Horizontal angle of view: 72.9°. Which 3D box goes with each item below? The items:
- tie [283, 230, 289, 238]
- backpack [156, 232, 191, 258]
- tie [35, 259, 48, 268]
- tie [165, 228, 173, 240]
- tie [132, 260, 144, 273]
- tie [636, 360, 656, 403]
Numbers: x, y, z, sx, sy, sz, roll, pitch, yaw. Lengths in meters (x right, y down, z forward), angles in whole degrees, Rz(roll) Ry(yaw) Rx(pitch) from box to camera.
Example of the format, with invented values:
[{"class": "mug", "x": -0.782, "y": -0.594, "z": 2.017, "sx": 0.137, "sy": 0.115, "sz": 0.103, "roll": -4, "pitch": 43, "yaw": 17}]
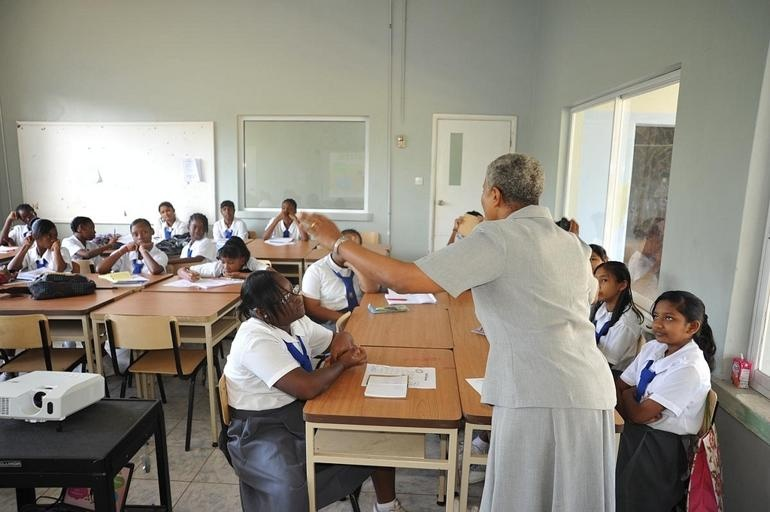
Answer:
[{"class": "tie", "x": -1.316, "y": -0.295, "z": 7.018, "sx": 0.089, "sy": 0.085, "sz": 0.022, "roll": 8, "pitch": 3, "yaw": 15}, {"class": "backpack", "x": -2.614, "y": -0.142, "z": 6.522, "sx": 0.341, "sy": 0.141, "sz": 0.346, "roll": -17, "pitch": 23, "yaw": 2}, {"class": "tie", "x": -3.236, "y": 0.074, "z": 4.940, "sx": 0.078, "sy": 0.111, "sz": 0.054, "roll": -1, "pitch": 9, "yaw": 12}, {"class": "tie", "x": -2.830, "y": -0.292, "z": 6.838, "sx": 0.151, "sy": 0.144, "sz": 0.041, "roll": -3, "pitch": -9, "yaw": 31}, {"class": "tie", "x": -2.400, "y": 0.098, "z": 5.090, "sx": 0.114, "sy": 0.148, "sz": 0.077, "roll": 2, "pitch": -8, "yaw": -20}, {"class": "tie", "x": 1.523, "y": 0.736, "z": 3.050, "sx": 0.048, "sy": 0.208, "sz": 0.146, "roll": 10, "pitch": -6, "yaw": 23}]
